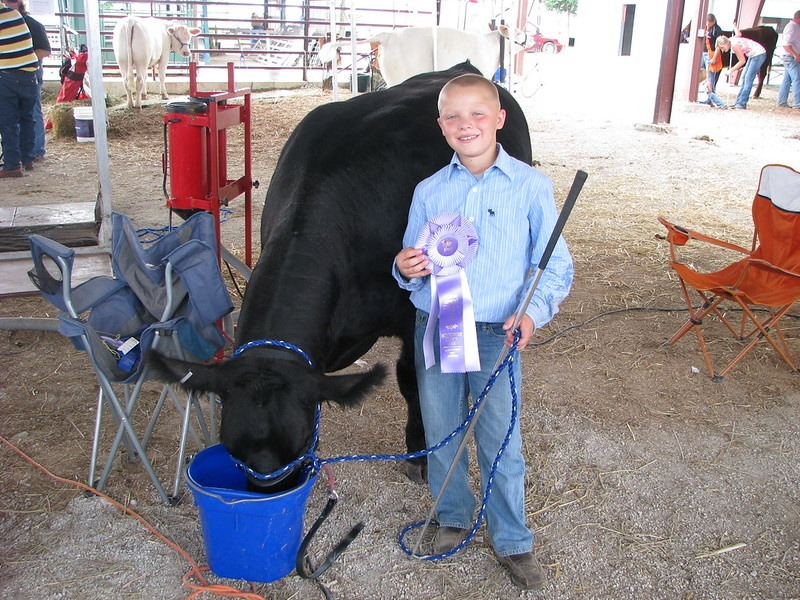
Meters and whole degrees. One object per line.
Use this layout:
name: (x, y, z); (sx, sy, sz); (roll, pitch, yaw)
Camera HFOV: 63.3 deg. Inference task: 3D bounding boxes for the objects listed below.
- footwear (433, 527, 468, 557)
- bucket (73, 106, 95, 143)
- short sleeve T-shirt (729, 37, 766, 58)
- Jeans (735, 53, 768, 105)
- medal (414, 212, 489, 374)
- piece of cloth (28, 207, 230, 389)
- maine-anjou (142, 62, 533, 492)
footwear: (0.210, 1.073, 2.865); (0.084, 0.068, 0.164); (-2, -9, 25)
bucket: (-4.700, -2.608, 9.659); (0.232, 0.557, 0.757); (-8, 26, -26)
short sleeve T-shirt: (7.283, -5.301, 13.646); (0.687, 0.245, 0.499); (18, 57, -1)
Jeans: (7.481, -4.702, 13.936); (0.326, 1.123, 0.980); (15, 25, 23)
medal: (0.187, -0.016, 2.543); (0.243, 0.622, 0.066); (-4, 2, 24)
piece of cloth: (-1.152, -0.011, 3.163); (0.737, 0.777, 0.926); (4, 17, 26)
maine-anjou: (-0.182, 0.203, 2.984); (1.387, 1.987, 1.940); (-2, 27, -20)
